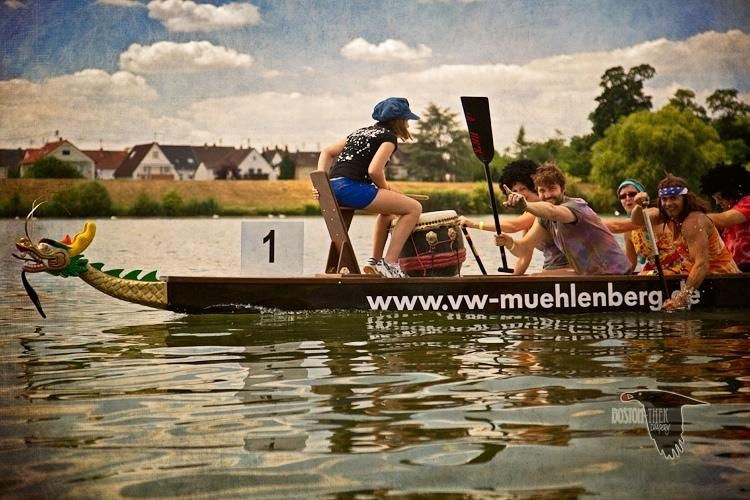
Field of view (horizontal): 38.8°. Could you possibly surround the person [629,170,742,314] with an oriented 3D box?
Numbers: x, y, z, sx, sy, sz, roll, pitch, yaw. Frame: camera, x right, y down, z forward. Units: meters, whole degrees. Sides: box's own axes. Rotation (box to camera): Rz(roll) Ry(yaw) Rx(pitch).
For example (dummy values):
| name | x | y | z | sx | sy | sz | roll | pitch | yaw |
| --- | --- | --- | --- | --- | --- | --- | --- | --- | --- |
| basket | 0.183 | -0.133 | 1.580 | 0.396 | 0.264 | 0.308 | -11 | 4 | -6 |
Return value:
| name | x | y | z | sx | sy | sz | roll | pitch | yaw |
| --- | --- | --- | --- | --- | --- | --- | --- | --- | --- |
| person | 5.699 | -0.140 | 19.067 | 1.156 | 2.374 | 0.949 | -2 | -5 | 14 |
